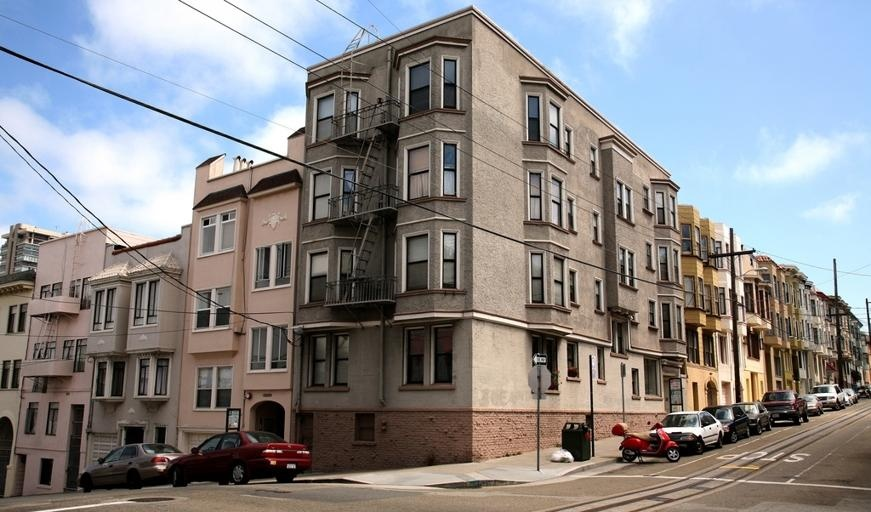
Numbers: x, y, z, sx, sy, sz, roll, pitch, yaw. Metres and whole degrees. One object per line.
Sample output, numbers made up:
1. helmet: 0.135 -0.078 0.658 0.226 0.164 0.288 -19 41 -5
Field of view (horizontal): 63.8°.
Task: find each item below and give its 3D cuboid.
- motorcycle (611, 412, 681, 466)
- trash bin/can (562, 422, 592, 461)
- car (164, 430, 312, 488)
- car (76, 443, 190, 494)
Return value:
1. motorcycle: 11.284 9.842 37.034 3.465 1.730 1.119 -8 -21 32
2. trash bin/can: 7.724 9.992 37.752 2.141 1.740 2.007 0 -13 9
3. car: -9.699 9.833 33.938 5.909 1.752 3.033 -7 -16 29
4. car: -16.066 11.277 37.196 6.207 1.836 2.610 -11 -20 28
